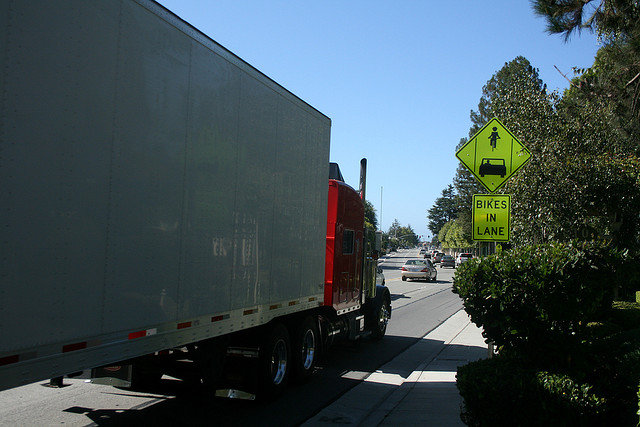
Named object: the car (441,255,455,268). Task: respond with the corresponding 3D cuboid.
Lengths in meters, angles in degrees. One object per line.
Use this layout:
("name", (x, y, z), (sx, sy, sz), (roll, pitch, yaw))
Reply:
("car", (15.521, 5.837, 60.723), (1.369, 1.463, 2.704), (1, -3, 6))

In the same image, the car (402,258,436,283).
("car", (7.226, 4.164, 36.363), (1.316, 1.230, 3.418), (-2, -9, 15))

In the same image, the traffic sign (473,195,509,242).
("traffic sign", (2.939, 0.082, 8.525), (0.629, 0.926, 0.059), (0, -2, 9))
